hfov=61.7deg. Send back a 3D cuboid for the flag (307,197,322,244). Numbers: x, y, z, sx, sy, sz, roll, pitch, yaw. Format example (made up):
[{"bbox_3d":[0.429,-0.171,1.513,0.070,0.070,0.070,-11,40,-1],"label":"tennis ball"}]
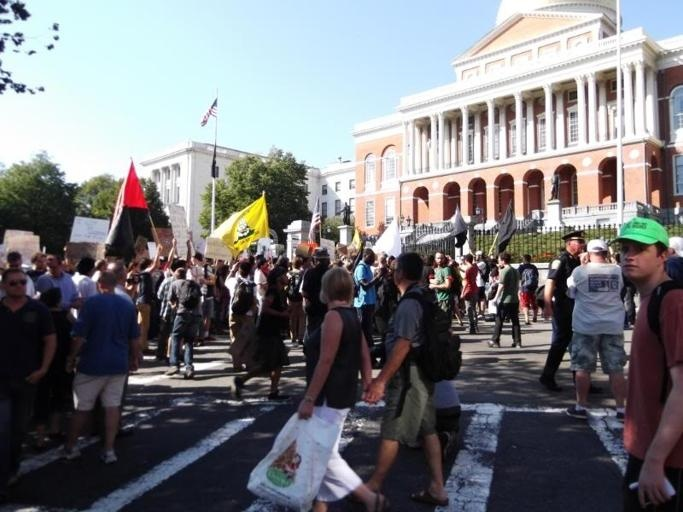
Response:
[{"bbox_3d":[-1.148,-1.831,27.630,0.616,3.335,0.620,-5,-44,-1],"label":"flag"}]

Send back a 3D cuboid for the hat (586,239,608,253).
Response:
[{"bbox_3d":[3.626,-0.144,8.089,0.298,0.255,0.523,4,3,19],"label":"hat"}]

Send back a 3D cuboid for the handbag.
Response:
[{"bbox_3d":[-0.436,1.930,5.279,0.706,1.012,0.340,17,-25,16],"label":"handbag"}]

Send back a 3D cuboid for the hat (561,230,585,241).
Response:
[{"bbox_3d":[3.608,-0.317,9.021,0.322,0.199,0.360,0,0,-40],"label":"hat"}]

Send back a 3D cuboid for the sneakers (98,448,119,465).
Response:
[{"bbox_3d":[-2.641,2.275,6.576,0.199,0.162,0.207,-3,-5,41],"label":"sneakers"}]

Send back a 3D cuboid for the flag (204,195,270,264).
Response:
[{"bbox_3d":[-2.429,-0.820,14.420,2.574,0.362,1.095,-41,-18,17],"label":"flag"}]

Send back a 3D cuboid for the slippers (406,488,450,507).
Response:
[{"bbox_3d":[0.838,2.336,5.489,0.350,0.164,0.149,4,-6,25],"label":"slippers"}]

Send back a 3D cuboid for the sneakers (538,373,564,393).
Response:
[{"bbox_3d":[3.242,1.994,8.973,0.398,0.321,0.169,2,-3,-1],"label":"sneakers"}]

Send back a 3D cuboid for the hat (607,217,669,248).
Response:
[{"bbox_3d":[2.229,-0.179,4.207,0.425,0.239,0.204,1,-4,-10],"label":"hat"}]

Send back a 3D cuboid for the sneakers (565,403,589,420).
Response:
[{"bbox_3d":[3.141,2.081,7.698,0.135,0.146,0.336,1,-3,-7],"label":"sneakers"}]

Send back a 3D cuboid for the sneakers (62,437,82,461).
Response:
[{"bbox_3d":[-3.193,2.256,6.690,0.315,0.256,0.122,4,-9,3],"label":"sneakers"}]

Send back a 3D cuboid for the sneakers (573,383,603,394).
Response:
[{"bbox_3d":[3.782,2.007,8.741,0.340,0.170,0.124,-1,0,-17],"label":"sneakers"}]
